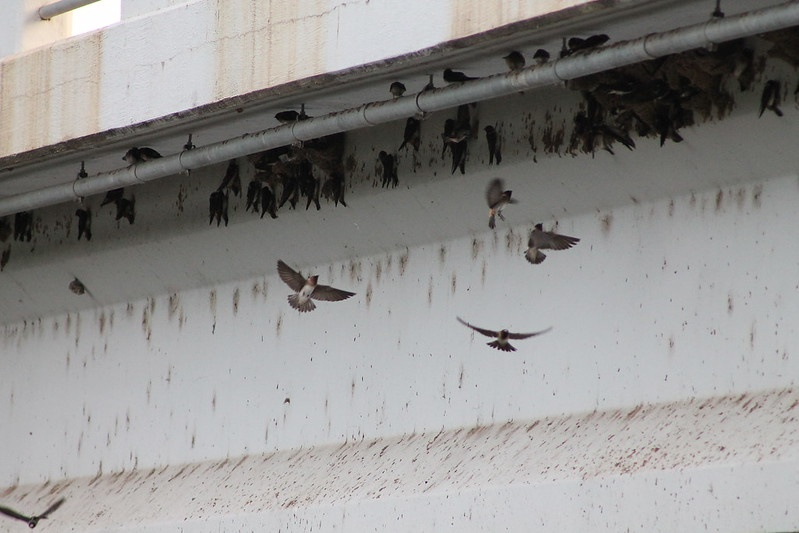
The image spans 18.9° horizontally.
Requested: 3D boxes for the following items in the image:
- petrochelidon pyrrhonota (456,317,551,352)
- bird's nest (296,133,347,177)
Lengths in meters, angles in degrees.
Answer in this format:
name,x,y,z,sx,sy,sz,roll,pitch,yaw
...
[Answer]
name,x,y,z,sx,sy,sz,roll,pitch,yaw
petrochelidon pyrrhonota,0.992,0.548,20.447,0.575,0.290,0.235,-17,-2,10
bird's nest,-0.678,-0.980,21.058,0.418,0.287,0.165,14,-35,-13
